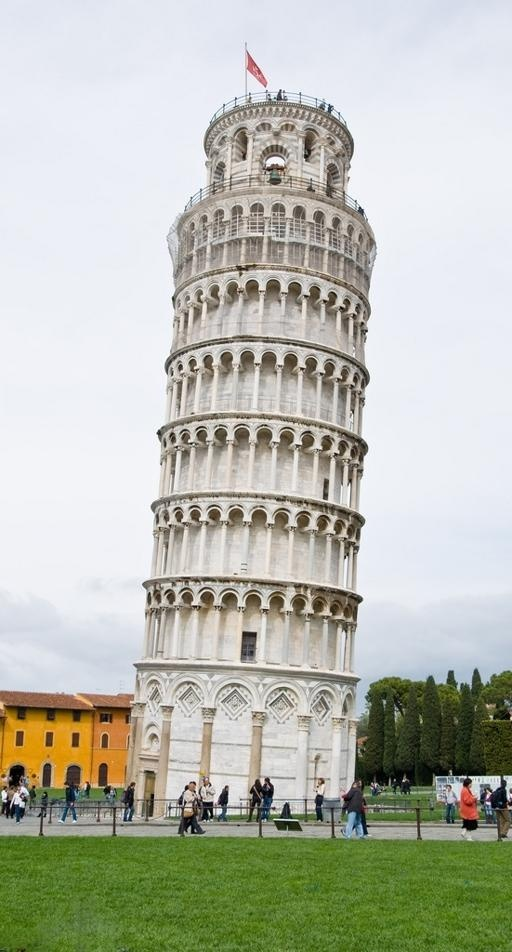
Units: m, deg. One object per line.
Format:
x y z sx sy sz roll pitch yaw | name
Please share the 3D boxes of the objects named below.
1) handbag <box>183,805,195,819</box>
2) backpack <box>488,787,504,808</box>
-1.755 8.846 24.972 0.222 0.323 0.326 4 6 -5 | handbag
6.300 8.377 24.640 0.321 0.586 0.781 -1 -16 17 | backpack
